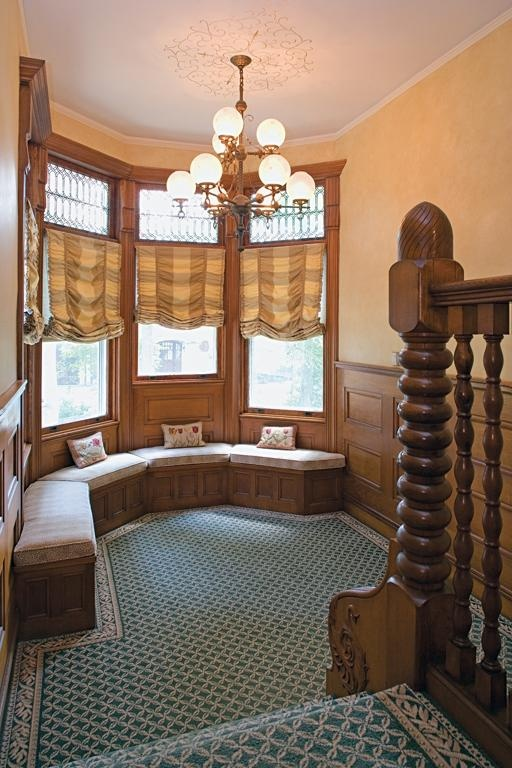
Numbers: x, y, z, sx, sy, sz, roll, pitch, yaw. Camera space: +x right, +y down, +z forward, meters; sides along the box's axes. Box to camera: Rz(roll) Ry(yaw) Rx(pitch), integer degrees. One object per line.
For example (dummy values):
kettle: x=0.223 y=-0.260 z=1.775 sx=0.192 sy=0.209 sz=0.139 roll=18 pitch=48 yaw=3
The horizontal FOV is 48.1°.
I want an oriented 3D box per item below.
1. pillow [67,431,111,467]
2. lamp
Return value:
pillow: x=-1.416 y=0.559 z=4.842 sx=0.088 sy=0.191 sz=0.262 roll=-13 pitch=-1 yaw=25
lamp: x=-0.077 y=-1.430 z=3.468 sx=0.852 sy=1.172 sz=0.908 roll=4 pitch=7 yaw=31
